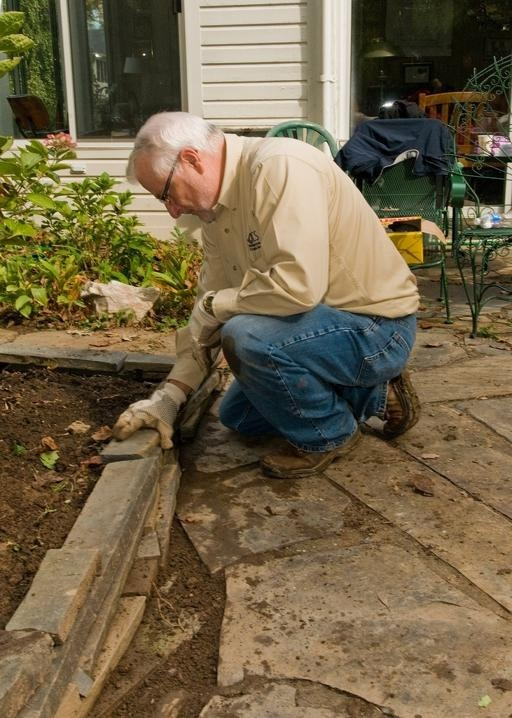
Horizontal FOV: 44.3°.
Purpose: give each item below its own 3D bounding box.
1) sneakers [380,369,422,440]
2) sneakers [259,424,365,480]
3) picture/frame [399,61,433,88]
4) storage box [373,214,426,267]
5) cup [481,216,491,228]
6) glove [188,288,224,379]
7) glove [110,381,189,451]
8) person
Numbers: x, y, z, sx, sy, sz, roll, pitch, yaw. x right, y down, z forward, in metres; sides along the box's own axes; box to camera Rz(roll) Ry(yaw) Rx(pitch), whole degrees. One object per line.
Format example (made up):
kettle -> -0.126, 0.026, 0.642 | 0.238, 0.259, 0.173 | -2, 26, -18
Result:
sneakers -> 0.608, 0.197, 2.715 | 0.129, 0.158, 0.341 | -33, 7, 23
sneakers -> 0.216, 0.351, 2.511 | 0.409, 0.163, 0.154 | -7, 14, -22
picture/frame -> 2.106, -3.705, 8.180 | 0.125, 0.318, 0.718 | 9, 19, 37
storage box -> 1.281, -0.943, 4.946 | 0.329, 0.372, 0.437 | -17, 19, -30
cup -> 1.758, -1.043, 4.804 | 0.082, 0.079, 0.225 | 2, 15, 19
glove -> -0.189, -0.054, 2.598 | 0.096, 0.236, 0.086 | -2, -18, 12
glove -> -0.382, 0.207, 2.344 | 0.203, 0.085, 0.273 | 21, 30, 17
person -> 0.071, -0.226, 2.341 | 1.030, 1.356, 0.662 | 0, 17, 13
